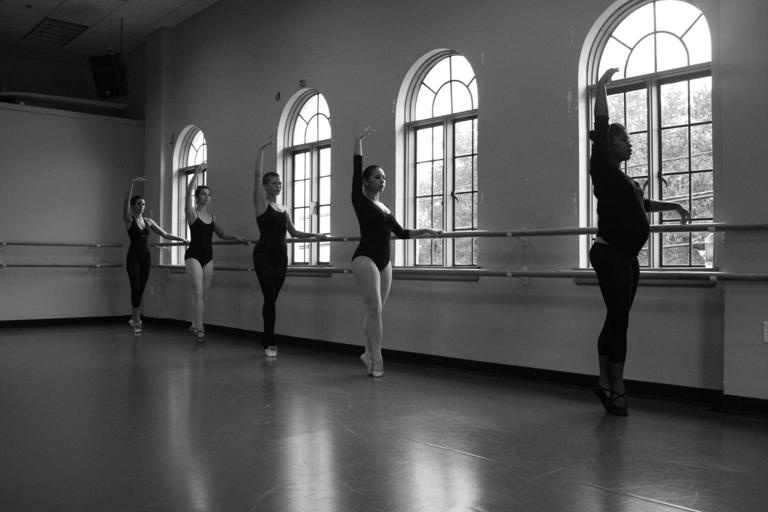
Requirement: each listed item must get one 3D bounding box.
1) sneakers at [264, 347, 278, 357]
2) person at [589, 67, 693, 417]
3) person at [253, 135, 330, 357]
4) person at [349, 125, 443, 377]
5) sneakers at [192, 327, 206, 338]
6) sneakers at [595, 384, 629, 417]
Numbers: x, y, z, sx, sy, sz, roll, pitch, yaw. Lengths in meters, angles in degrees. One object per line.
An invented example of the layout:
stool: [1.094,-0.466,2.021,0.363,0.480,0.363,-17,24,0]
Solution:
sneakers: [-1.241,1.056,6.198,0.129,0.102,0.192,1,1,-16]
person: [1.685,-0.082,4.046,0.380,2.420,0.243,0,1,-18]
person: [-1.199,-0.073,6.385,0.542,2.376,0.481,0,2,-39]
person: [-0.024,-0.044,5.254,0.615,2.302,0.345,0,2,-37]
sneakers: [-2.469,1.004,7.447,0.171,0.184,0.354,0,1,-21]
sneakers: [1.630,1.044,4.087,0.106,0.129,0.314,3,2,-17]
